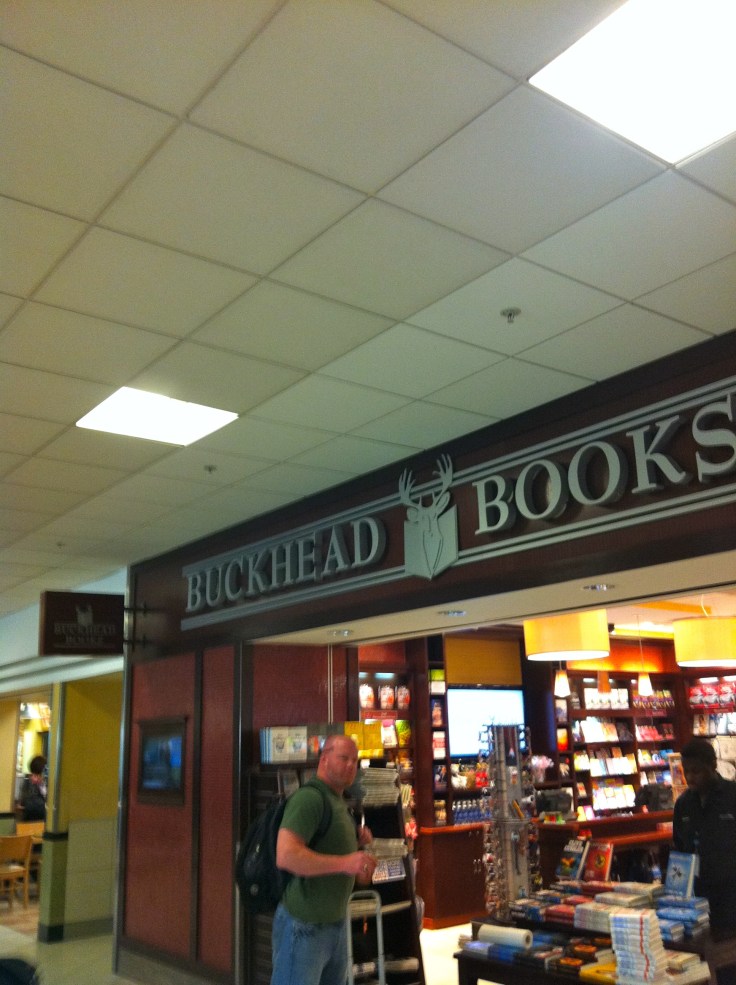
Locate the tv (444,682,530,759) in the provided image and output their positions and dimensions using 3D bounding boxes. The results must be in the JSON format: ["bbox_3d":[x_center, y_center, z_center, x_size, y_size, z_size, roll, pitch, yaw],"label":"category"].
[{"bbox_3d":[1.284,2.586,8.489,1.728,1.009,0.025,13,-30,-38],"label":"tv"}]

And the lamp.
[{"bbox_3d":[2.941,1.586,8.246,2.077,0.443,0.615,5,-20,-18],"label":"lamp"}]

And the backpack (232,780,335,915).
[{"bbox_3d":[-0.373,1.772,3.755,0.587,0.549,0.413,-21,-28,32],"label":"backpack"}]
